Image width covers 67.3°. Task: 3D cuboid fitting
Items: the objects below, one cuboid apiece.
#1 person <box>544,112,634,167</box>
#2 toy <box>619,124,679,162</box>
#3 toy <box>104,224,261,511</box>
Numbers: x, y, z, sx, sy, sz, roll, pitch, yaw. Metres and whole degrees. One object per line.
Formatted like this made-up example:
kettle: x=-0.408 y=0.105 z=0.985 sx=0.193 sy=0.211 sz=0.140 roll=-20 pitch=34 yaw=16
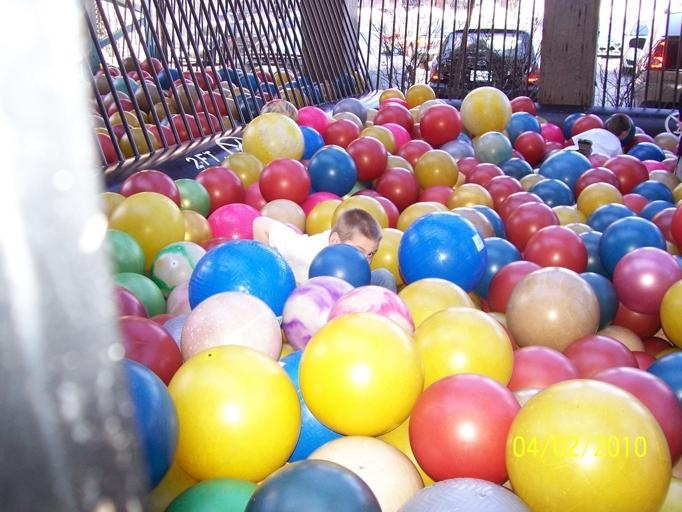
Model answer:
person: x=2.419 y=-1.120 z=4.960 sx=0.453 sy=0.406 sz=0.912 roll=18 pitch=46 yaw=40
toy: x=3.111 y=-1.132 z=5.159 sx=0.564 sy=0.279 sz=0.617 roll=-2 pitch=19 yaw=-8
toy: x=-0.545 y=0.159 z=1.670 sx=0.367 sy=0.418 sz=1.172 roll=-7 pitch=47 yaw=-19
